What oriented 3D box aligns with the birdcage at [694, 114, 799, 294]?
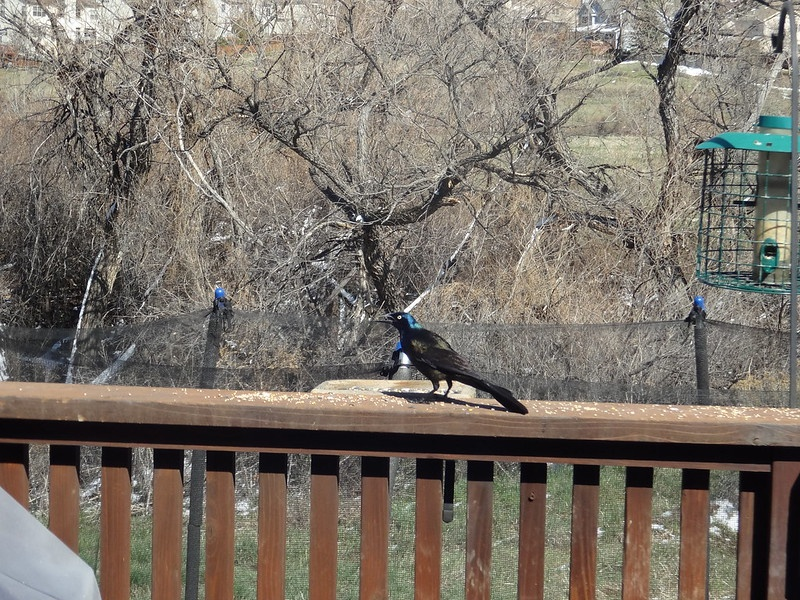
[{"bbox_3d":[2.844,-0.734,12.811,1.083,1.197,1.162,1,9,1],"label":"birdcage"}]
